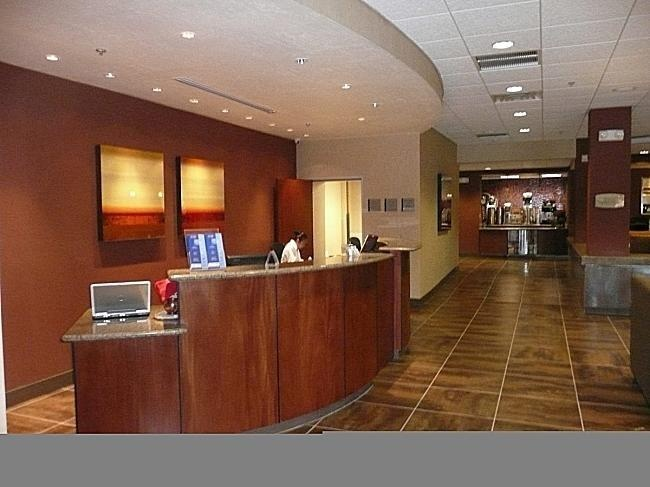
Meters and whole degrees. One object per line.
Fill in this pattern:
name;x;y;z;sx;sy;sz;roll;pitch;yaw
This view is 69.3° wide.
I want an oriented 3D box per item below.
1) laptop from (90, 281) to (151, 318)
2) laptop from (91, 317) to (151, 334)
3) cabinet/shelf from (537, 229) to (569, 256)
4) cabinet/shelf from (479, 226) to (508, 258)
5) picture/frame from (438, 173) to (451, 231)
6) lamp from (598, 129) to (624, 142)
laptop;-1.673;0.458;3.802;0.470;0.318;0.314;0;4;-16
laptop;-1.590;0.644;3.646;0.428;0.047;0.437;-3;5;-22
cabinet/shelf;7.925;-0.051;16.282;0.852;0.829;0.454;-2;-3;36
cabinet/shelf;6.239;-0.023;17.373;1.280;1.243;0.929;0;1;23
picture/frame;2.704;-0.951;10.764;0.132;1.384;1.382;0;2;19
lamp;4.967;-1.871;8.161;0.375;0.248;0.217;1;-1;13
